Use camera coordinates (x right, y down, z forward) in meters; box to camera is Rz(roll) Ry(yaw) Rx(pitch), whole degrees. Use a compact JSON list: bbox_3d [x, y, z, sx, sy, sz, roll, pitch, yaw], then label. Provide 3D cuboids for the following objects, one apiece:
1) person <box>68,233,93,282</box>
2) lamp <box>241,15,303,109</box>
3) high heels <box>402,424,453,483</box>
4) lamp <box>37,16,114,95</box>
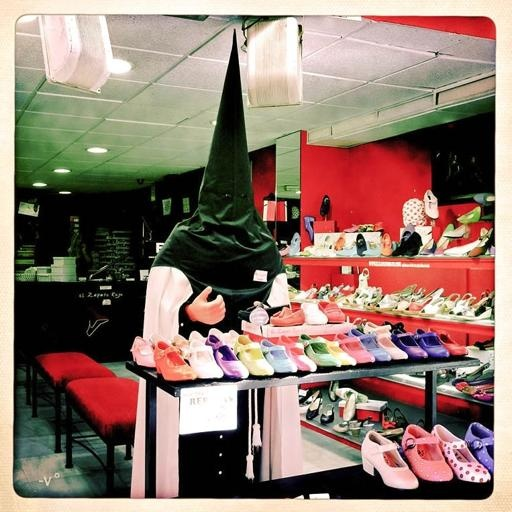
[{"bbox_3d":[-4.302,-0.046,10.927,0.554,1.134,0.931,-2,0,-20],"label":"person"},{"bbox_3d":[0.075,-0.874,1.997,0.270,0.395,0.148,-2,0,12],"label":"lamp"},{"bbox_3d":[0.674,0.785,1.769,0.112,0.069,0.198,-5,22,-14],"label":"high heels"},{"bbox_3d":[-0.721,-0.862,1.786,0.225,0.351,0.246,7,16,-20],"label":"lamp"}]
